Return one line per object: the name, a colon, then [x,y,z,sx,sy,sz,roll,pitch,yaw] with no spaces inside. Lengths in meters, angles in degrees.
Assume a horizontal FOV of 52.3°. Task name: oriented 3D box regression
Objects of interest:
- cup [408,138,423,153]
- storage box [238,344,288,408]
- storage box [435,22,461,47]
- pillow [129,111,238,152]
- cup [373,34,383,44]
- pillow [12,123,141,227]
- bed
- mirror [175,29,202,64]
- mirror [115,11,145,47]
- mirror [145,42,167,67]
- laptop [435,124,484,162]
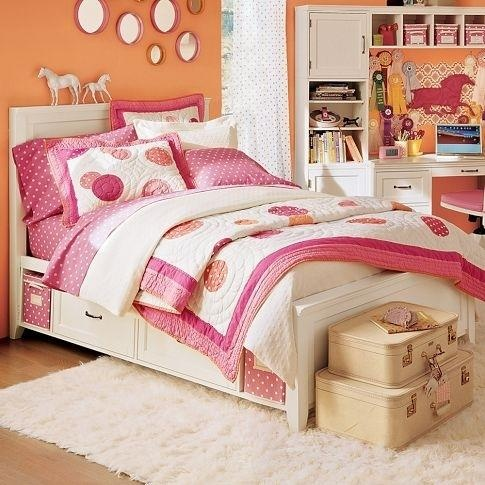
cup: [1.627,-0.910,4.747,0.172,0.141,0.145,-1,2,7]
storage box: [0.087,0.463,1.727,0.173,0.147,0.163,6,9,27]
storage box: [1.812,-1.856,4.428,0.229,0.179,0.214,1,9,14]
pillow: [-0.384,-0.683,3.072,0.454,0.116,0.390,-3,23,-21]
cup: [1.190,-1.794,4.372,0.092,0.062,0.087,-1,11,0]
pillow: [-0.913,-0.312,2.546,0.180,0.446,0.806,-5,7,43]
bed: [-0.168,-0.075,2.667,2.227,1.215,1.396,8,11,39]
mirror: [-0.417,-1.460,3.732,0.237,0.212,0.224,7,8,36]
mirror: [-0.757,-1.430,3.304,0.054,0.207,0.203,2,9,31]
mirror: [-0.619,-1.333,3.514,0.032,0.148,0.156,3,9,37]
laptop: [1.956,-0.892,4.473,0.465,0.280,0.057,1,-6,12]
